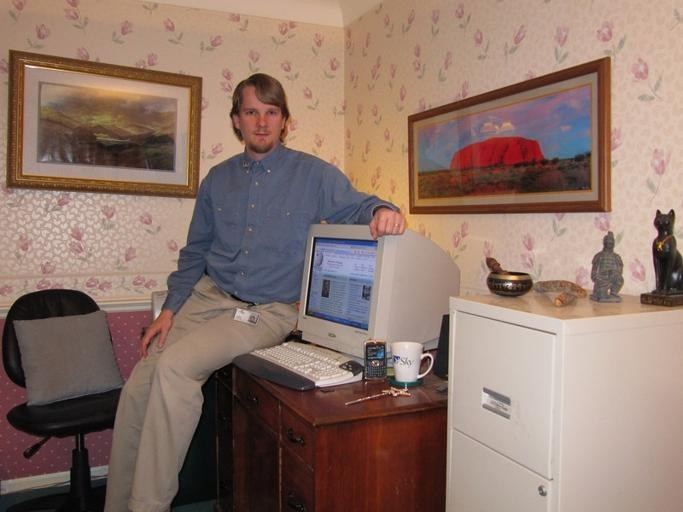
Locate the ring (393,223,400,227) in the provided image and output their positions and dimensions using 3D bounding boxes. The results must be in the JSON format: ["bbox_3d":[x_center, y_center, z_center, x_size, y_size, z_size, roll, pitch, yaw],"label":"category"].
[{"bbox_3d":[0.198,-0.111,1.807,0.012,0.013,0.022,5,2,15],"label":"ring"}]

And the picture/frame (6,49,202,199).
[{"bbox_3d":[-1.338,-0.727,2.724,0.863,0.647,0.032,1,7,-23],"label":"picture/frame"}]

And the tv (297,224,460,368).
[{"bbox_3d":[0.173,0.119,2.135,0.542,0.551,0.527,-2,5,-40],"label":"tv"}]

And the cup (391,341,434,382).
[{"bbox_3d":[0.252,0.374,1.765,0.155,0.119,0.108,6,-12,-23],"label":"cup"}]
